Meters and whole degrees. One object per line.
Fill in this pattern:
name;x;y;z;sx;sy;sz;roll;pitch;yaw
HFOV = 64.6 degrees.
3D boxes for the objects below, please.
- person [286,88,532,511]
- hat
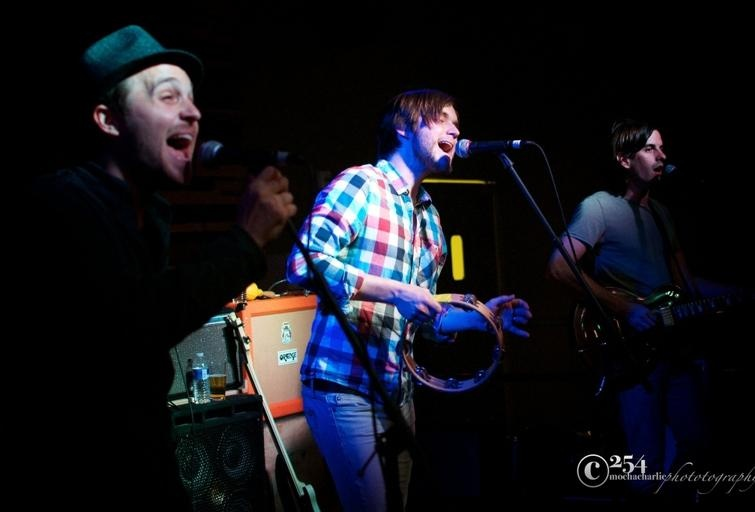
person;0.069;0.166;2.894;0.999;1.994;0.504;-6;0;-24
hat;-1.011;-0.807;2.575;0.372;0.151;0.322;-33;-6;7
